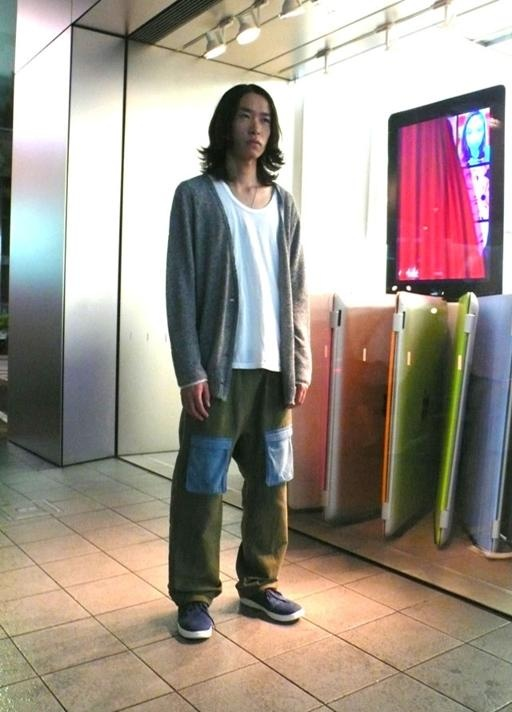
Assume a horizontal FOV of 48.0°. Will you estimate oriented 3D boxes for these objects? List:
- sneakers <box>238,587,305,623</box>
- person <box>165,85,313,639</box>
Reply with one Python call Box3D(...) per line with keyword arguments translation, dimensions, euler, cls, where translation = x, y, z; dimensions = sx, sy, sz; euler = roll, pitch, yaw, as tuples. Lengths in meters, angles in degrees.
Box3D(translation=(0.038, 0.668, 1.593), dimensions=(0.185, 0.074, 0.069), euler=(-4, -3, 42), cls="sneakers")
Box3D(translation=(-0.027, -0.004, 1.539), dimensions=(0.232, 1.411, 0.439), euler=(0, -1, 43), cls="person")
